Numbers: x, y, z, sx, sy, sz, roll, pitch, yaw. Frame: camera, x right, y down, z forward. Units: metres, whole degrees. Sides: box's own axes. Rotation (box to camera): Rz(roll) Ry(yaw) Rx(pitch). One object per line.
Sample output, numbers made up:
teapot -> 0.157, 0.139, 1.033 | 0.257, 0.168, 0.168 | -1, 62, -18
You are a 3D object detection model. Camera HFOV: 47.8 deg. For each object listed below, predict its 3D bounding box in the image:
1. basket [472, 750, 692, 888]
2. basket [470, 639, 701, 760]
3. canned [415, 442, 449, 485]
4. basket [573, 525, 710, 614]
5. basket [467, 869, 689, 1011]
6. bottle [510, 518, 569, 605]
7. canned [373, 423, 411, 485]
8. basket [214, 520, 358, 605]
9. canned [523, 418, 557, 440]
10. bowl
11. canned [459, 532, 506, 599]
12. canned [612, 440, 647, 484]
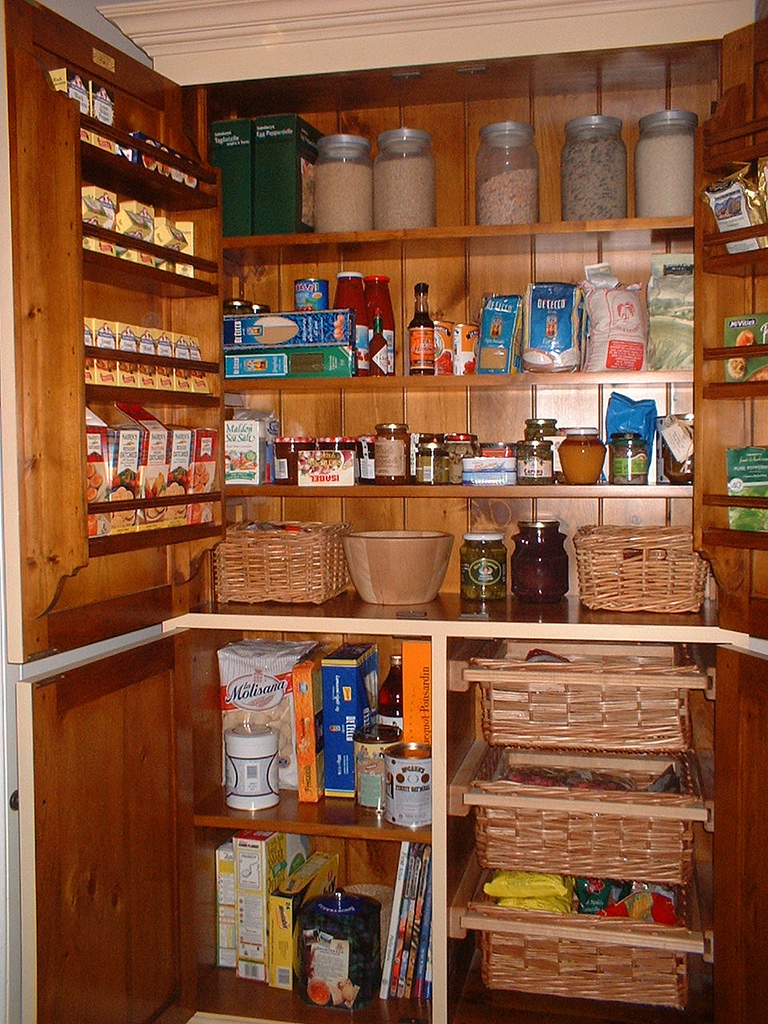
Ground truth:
basket -> 0.376, 0.568, 1.664 | 0.394, 0.176, 0.315 | 0, 3, 14
basket -> 0.357, 0.331, 1.567 | 0.304, 0.120, 0.255 | 0, 1, 9
canned -> 0.097, -0.100, 1.827 | 0.078, 0.090, 0.079 | 0, -3, -8
basket -> 0.507, 0.109, 1.709 | 0.209, 0.132, 0.162 | 0, 2, 9
basket -> 0.357, 0.747, 1.553 | 0.303, 0.136, 0.211 | 1, 1, 14
bottle -> 0.320, 0.109, 1.787 | 0.154, 0.227, 0.150 | 0, -4, 0
canned -> 0.013, -0.120, 1.821 | 0.105, 0.175, 0.105 | 0, -8, -1
basket -> -0.226, 0.113, 1.800 | 0.196, 0.133, 0.199 | -1, 1, 5
canned -> 0.324, -0.172, 1.816 | 0.048, 0.046, 0.049 | 0, 2, 19
bowl -> 0.029, 0.112, 1.802 | 0.167, 0.106, 0.170 | 0, -1, 0
canned -> 0.210, 0.117, 1.848 | 0.102, 0.150, 0.104 | 4, 1, 1
canned -> 0.481, -0.099, 1.719 | 0.064, 0.092, 0.089 | 1, -4, -2
